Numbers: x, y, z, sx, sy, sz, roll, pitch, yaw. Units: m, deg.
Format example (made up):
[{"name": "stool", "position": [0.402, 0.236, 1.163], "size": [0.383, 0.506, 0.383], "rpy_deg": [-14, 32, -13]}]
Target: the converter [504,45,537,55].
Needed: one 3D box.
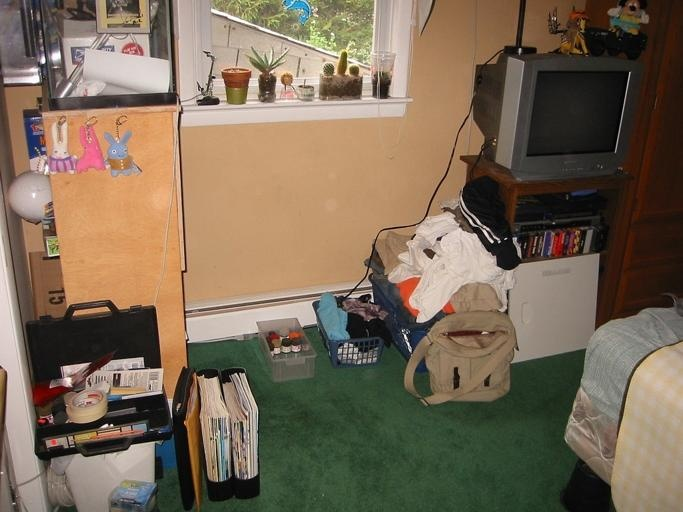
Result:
[{"name": "converter", "position": [0.888, -1.018, 2.688], "size": [0.153, 0.039, 0.177], "rpy_deg": [5, 22, 13]}]

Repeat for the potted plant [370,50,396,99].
[{"name": "potted plant", "position": [0.263, -0.972, 2.980], "size": [0.145, 0.215, 0.146], "rpy_deg": [4, 1, -12]}]

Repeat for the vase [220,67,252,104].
[{"name": "vase", "position": [-0.535, -0.861, 2.746], "size": [0.138, 0.156, 0.143], "rpy_deg": [1, 28, -7]}]

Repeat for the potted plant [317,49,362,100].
[{"name": "potted plant", "position": [-0.018, -0.966, 2.906], "size": [0.277, 0.310, 0.113], "rpy_deg": [-1, 35, -11]}]

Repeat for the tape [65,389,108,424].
[{"name": "tape", "position": [-0.935, 0.553, 1.981], "size": [0.136, 0.082, 0.101], "rpy_deg": [-1, 21, -2]}]

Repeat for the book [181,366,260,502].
[{"name": "book", "position": [-0.515, 0.698, 2.218], "size": [0.319, 0.547, 0.310], "rpy_deg": [-7, 22, -17]}]

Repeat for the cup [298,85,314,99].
[{"name": "cup", "position": [-0.188, -0.858, 2.866], "size": [0.074, 0.055, 0.075], "rpy_deg": [2, 26, -1]}]

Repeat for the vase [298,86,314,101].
[{"name": "vase", "position": [-0.191, -0.860, 2.865], "size": [0.077, 0.057, 0.078], "rpy_deg": [-6, 27, -17]}]

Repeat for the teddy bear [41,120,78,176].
[{"name": "teddy bear", "position": [-1.040, -0.405, 1.995], "size": [0.099, 0.209, 0.043], "rpy_deg": [-10, 23, -24]}]

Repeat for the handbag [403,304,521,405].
[{"name": "handbag", "position": [0.582, 0.516, 2.657], "size": [0.489, 0.437, 0.381], "rpy_deg": [7, 22, 18]}]

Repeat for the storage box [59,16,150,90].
[{"name": "storage box", "position": [-0.986, -0.778, 2.286], "size": [0.378, 0.255, 0.205], "rpy_deg": [-6, 44, -16]}]

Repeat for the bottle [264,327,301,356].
[{"name": "bottle", "position": [-0.298, 0.450, 2.851], "size": [0.126, 0.054, 0.132], "rpy_deg": [0, 13, 0]}]

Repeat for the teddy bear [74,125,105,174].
[{"name": "teddy bear", "position": [-0.947, -0.401, 2.017], "size": [0.103, 0.172, 0.028], "rpy_deg": [-4, 21, -10]}]

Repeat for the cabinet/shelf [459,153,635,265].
[{"name": "cabinet/shelf", "position": [1.179, -0.176, 3.148], "size": [0.749, 0.712, 0.563], "rpy_deg": [-5, 23, -7]}]

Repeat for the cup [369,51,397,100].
[{"name": "cup", "position": [0.258, -0.975, 2.980], "size": [0.151, 0.208, 0.143], "rpy_deg": [2, 7, 0]}]

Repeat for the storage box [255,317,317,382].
[{"name": "storage box", "position": [-0.319, 0.512, 2.987], "size": [0.252, 0.152, 0.411], "rpy_deg": [-5, 24, -22]}]

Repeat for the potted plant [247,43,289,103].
[{"name": "potted plant", "position": [-0.376, -0.946, 2.834], "size": [0.211, 0.264, 0.202], "rpy_deg": [-4, 21, -11]}]

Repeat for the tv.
[{"name": "tv", "position": [1.103, -0.800, 3.026], "size": [0.743, 0.580, 0.724], "rpy_deg": [-5, 22, -14]}]
